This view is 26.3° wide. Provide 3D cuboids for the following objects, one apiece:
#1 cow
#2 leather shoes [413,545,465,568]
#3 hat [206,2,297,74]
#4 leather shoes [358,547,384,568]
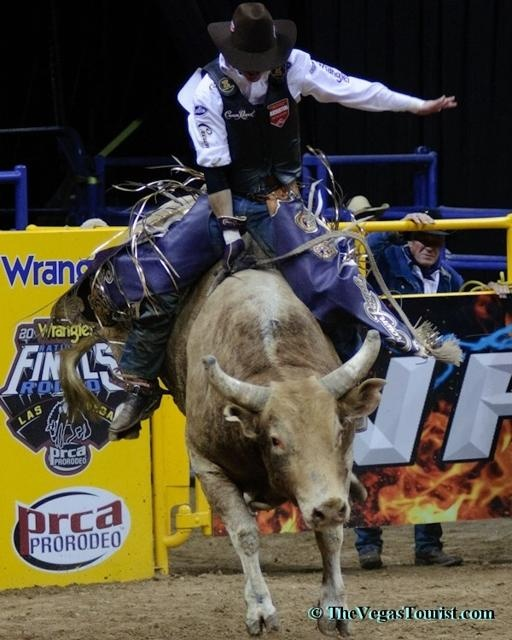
[{"bbox_3d":[-0.139,0.390,4.697,0.793,1.064,2.281,-10,23,-8],"label":"cow"},{"bbox_3d":[1.146,1.532,7.074,0.335,0.095,0.116,-6,-5,32],"label":"leather shoes"},{"bbox_3d":[-0.004,-1.334,5.147,0.417,0.375,0.396,-1,7,-8],"label":"hat"},{"bbox_3d":[0.725,1.509,7.000,0.144,0.117,0.316,-1,-13,1],"label":"leather shoes"}]
